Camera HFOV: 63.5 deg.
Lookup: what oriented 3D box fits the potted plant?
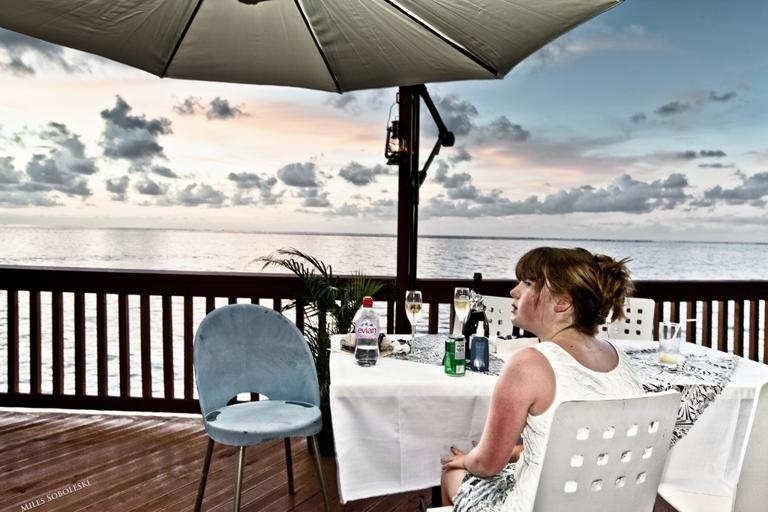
[{"bbox_3d":[-0.300,0.874,6.911,1.654,2.314,1.734,2,-4,-33],"label":"potted plant"}]
